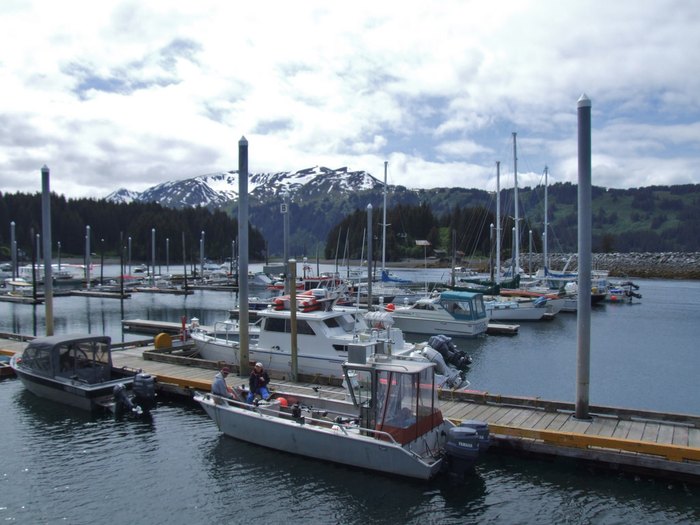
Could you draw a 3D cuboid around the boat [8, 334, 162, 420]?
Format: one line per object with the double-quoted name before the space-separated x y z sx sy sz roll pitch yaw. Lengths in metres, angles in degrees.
"boat" -11.362 4.837 29.898 6.342 3.715 1.943 -2 0 23
